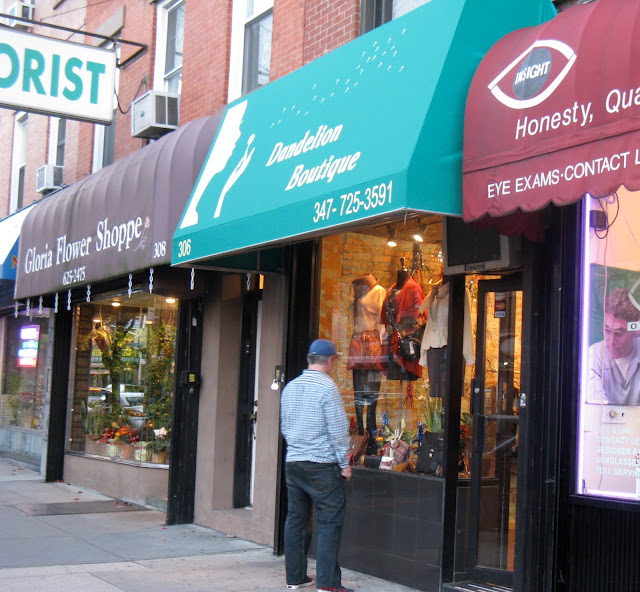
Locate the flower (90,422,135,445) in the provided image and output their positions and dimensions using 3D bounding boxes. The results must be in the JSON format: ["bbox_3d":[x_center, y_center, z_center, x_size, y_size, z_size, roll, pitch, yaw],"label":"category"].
[{"bbox_3d":[-3.104,2.115,11.696,0.449,0.253,0.531,6,-7,6],"label":"flower"}]

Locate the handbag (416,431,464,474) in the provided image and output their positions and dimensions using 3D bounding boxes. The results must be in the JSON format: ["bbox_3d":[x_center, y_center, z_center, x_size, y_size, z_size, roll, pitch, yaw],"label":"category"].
[{"bbox_3d":[0.936,1.336,6.507,0.114,0.362,0.412,4,-9,-19],"label":"handbag"}]

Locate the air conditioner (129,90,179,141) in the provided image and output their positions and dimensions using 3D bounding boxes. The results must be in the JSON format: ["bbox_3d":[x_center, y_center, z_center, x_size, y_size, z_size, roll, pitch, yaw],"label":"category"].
[{"bbox_3d":[-2.287,-2.480,10.604,0.378,0.535,0.668,0,-3,-42],"label":"air conditioner"}]

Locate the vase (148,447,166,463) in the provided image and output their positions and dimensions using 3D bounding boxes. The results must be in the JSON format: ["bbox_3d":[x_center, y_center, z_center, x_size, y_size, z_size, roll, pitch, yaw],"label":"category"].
[{"bbox_3d":[-2.294,2.241,10.813,0.202,0.168,0.204,-1,-5,44],"label":"vase"}]

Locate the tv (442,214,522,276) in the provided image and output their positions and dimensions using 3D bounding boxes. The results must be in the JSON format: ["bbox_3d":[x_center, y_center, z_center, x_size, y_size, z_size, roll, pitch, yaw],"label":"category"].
[{"bbox_3d":[1.266,-0.432,6.109,0.262,0.511,0.863,4,-9,-20],"label":"tv"}]

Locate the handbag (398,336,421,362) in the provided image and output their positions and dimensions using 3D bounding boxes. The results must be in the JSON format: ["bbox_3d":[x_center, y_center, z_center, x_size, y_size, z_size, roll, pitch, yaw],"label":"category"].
[{"bbox_3d":[0.805,0.479,6.975,0.067,0.199,0.172,-1,-8,-38],"label":"handbag"}]
